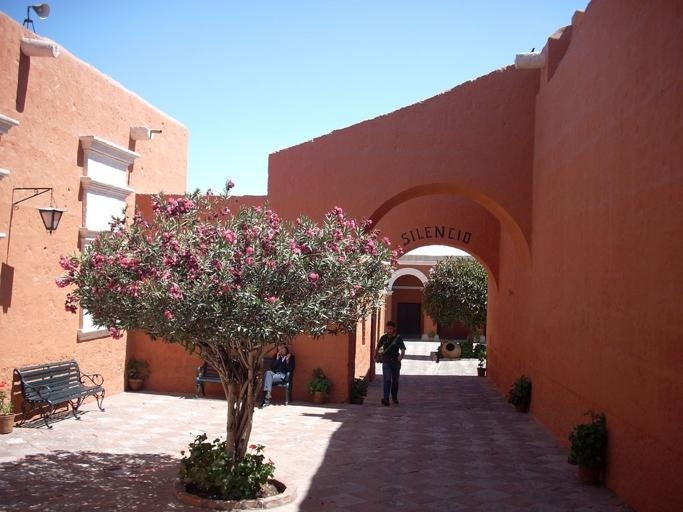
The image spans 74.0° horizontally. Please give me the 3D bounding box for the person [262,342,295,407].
[{"bbox_3d":[-1.514,2.825,10.946,0.785,1.387,0.678,3,-6,-12],"label":"person"}]

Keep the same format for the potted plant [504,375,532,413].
[{"bbox_3d":[4.178,3.235,10.951,0.655,0.904,0.724,-1,4,-3],"label":"potted plant"}]

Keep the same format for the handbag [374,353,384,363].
[{"bbox_3d":[0.897,2.443,10.758,0.177,0.254,0.245,5,-1,-7],"label":"handbag"}]

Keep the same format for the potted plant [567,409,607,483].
[{"bbox_3d":[3.373,2.611,6.247,0.443,0.926,0.428,1,-6,7],"label":"potted plant"}]

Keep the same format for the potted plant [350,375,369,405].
[{"bbox_3d":[0.389,3.345,11.393,0.560,0.851,0.531,2,-10,-5],"label":"potted plant"}]
